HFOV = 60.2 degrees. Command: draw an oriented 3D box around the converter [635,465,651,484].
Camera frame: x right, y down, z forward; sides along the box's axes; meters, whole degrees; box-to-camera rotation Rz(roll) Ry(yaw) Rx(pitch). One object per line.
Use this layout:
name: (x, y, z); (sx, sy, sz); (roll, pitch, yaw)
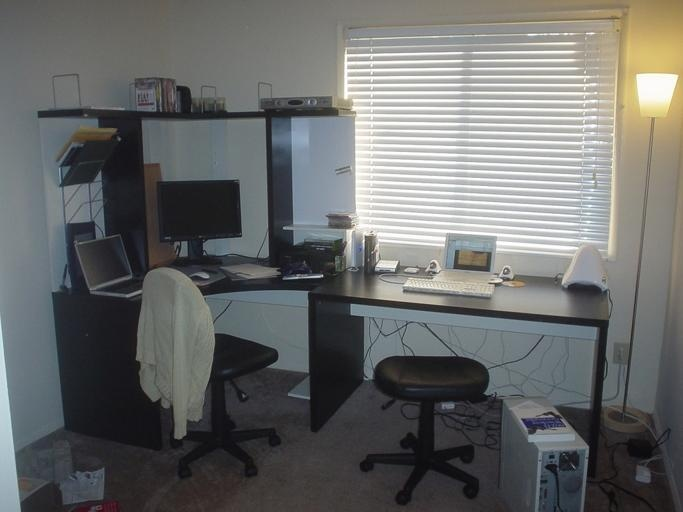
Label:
converter: (1.694, 1.234, 3.318); (0.076, 0.075, 0.045); (4, -4, 6)

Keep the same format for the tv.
tv: (-1.003, -0.242, 4.103); (0.592, 0.606, 0.197); (-3, 7, -23)

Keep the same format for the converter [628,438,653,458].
converter: (1.755, 1.136, 3.472); (0.108, 0.071, 0.109); (0, 3, 26)

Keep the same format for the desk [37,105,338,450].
desk: (-1.340, 0.125, 3.783); (1.351, 1.533, 0.923); (-6, 1, -15)

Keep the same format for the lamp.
lamp: (1.852, -0.003, 3.642); (0.281, 2.160, 0.522); (6, 16, 25)

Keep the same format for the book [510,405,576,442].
book: (1.000, 0.851, 2.973); (0.240, 0.063, 0.455); (0, 10, 1)

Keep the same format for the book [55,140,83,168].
book: (-1.640, -0.607, 3.519); (0.225, 0.149, 0.099); (9, 17, 32)

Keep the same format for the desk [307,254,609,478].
desk: (0.725, 0.652, 3.774); (1.677, 0.942, 0.923); (3, 9, 20)

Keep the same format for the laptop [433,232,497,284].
laptop: (0.830, 0.036, 3.813); (0.339, 0.281, 0.277); (5, 23, 8)

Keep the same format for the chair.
chair: (-0.750, 0.630, 3.390); (0.642, 1.044, 0.640); (-18, -11, 30)

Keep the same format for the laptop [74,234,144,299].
laptop: (-1.350, 0.057, 3.642); (0.351, 0.289, 0.413); (7, 11, 15)

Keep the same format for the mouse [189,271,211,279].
mouse: (-0.885, 0.123, 3.765); (0.098, 0.024, 0.052); (4, 12, 18)

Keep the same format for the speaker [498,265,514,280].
speaker: (1.080, 0.108, 3.881); (0.091, 0.095, 0.093); (2, 10, 13)

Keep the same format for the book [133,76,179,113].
book: (-1.210, -1.066, 4.009); (0.322, 0.325, 0.242); (2, 15, -5)

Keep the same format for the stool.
stool: (0.441, 0.952, 3.458); (0.751, 0.698, 0.702); (0, 7, -8)
